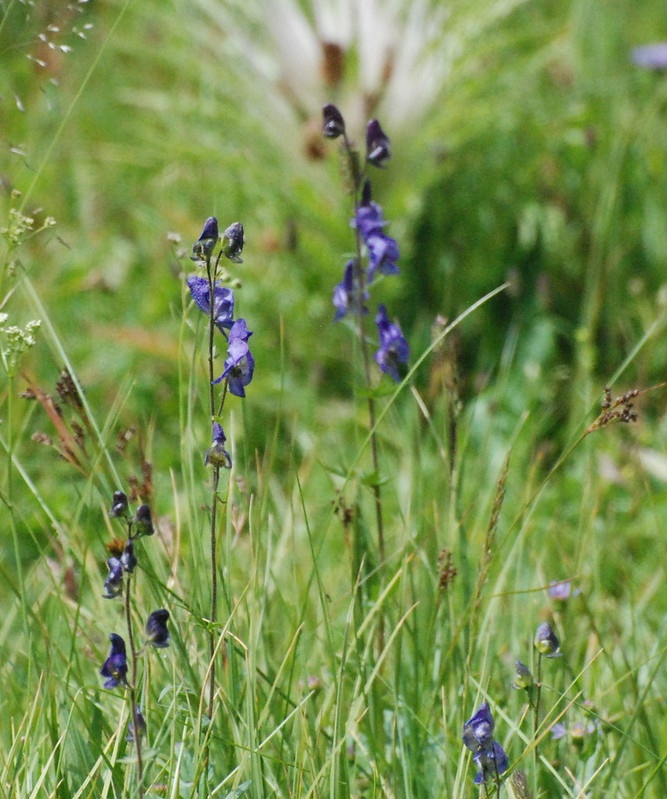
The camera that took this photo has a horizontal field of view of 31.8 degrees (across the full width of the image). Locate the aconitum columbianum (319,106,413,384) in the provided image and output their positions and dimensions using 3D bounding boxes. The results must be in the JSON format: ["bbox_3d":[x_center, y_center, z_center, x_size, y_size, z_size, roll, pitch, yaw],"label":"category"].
[{"bbox_3d":[0.066,-0.306,2.337,0.162,0.560,0.332,-1,5,4],"label":"aconitum columbianum"}]

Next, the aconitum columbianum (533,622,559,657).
[{"bbox_3d":[0.375,0.427,2.066,0.041,0.077,0.116,0,6,9],"label":"aconitum columbianum"}]
